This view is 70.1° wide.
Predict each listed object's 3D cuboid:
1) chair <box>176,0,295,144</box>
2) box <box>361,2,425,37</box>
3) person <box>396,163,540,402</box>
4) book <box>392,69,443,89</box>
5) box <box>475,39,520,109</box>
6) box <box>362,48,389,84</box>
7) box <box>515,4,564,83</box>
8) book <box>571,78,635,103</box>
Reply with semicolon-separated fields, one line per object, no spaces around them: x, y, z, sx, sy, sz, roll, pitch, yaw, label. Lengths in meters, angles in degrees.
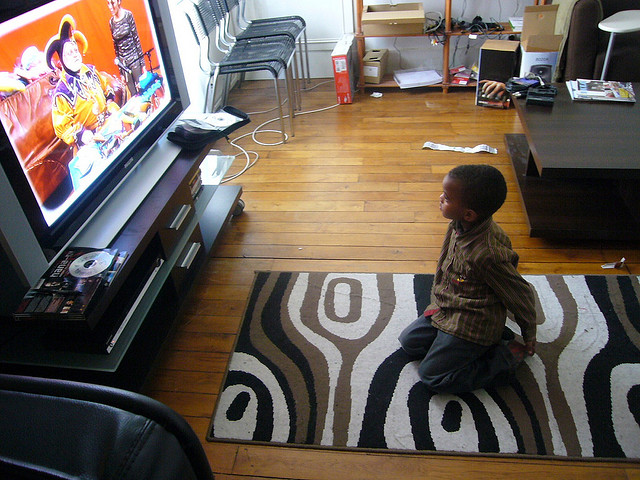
-0.601;-1.270;3.409;0.761;0.959;0.864;-6;33;-1;chair
0.590;-1.811;3.746;0.490;0.216;0.462;0;32;7;box
0.608;0.209;1.867;0.628;0.994;0.511;-8;40;15;person
0.824;-1.407;3.949;0.271;0.046;0.268;-5;42;2;book
1.358;-1.273;3.517;0.270;0.471;0.264;9;36;20;box
0.467;-1.496;3.933;0.186;0.208;0.309;6;40;20;box
1.599;-1.435;3.326;0.272;0.468;0.452;8;35;19;box
1.642;-0.871;2.655;0.315;0.074;0.261;9;34;20;book
